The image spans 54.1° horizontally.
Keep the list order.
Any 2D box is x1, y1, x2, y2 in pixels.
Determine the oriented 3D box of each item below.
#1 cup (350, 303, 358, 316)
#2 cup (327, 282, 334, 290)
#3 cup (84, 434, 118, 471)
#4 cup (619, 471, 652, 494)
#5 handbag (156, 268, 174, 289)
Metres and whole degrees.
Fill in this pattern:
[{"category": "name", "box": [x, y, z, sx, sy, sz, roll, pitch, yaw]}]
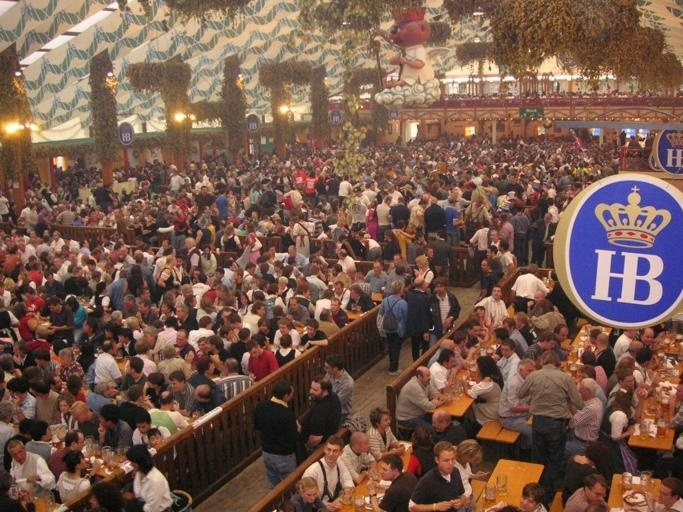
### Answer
[{"category": "cup", "box": [0.309, 1.172, 14.825, 0.173, 0.363, 0.187, -7, -6, -1]}, {"category": "cup", "box": [-0.241, 0.689, 15.388, 0.147, 0.193, 0.160, -1, 11, 0]}, {"category": "cup", "box": [-3.498, 2.886, 9.732, 0.504, 0.404, 0.344, 20, 8, 14]}, {"category": "cup", "box": [4.013, 3.076, 9.142, 0.194, 0.424, 0.462, -8, -12, 10]}, {"category": "handbag", "box": [-4.318, 0.536, 16.441, 0.193, 0.367, 0.380, 16, 18, 5]}]
